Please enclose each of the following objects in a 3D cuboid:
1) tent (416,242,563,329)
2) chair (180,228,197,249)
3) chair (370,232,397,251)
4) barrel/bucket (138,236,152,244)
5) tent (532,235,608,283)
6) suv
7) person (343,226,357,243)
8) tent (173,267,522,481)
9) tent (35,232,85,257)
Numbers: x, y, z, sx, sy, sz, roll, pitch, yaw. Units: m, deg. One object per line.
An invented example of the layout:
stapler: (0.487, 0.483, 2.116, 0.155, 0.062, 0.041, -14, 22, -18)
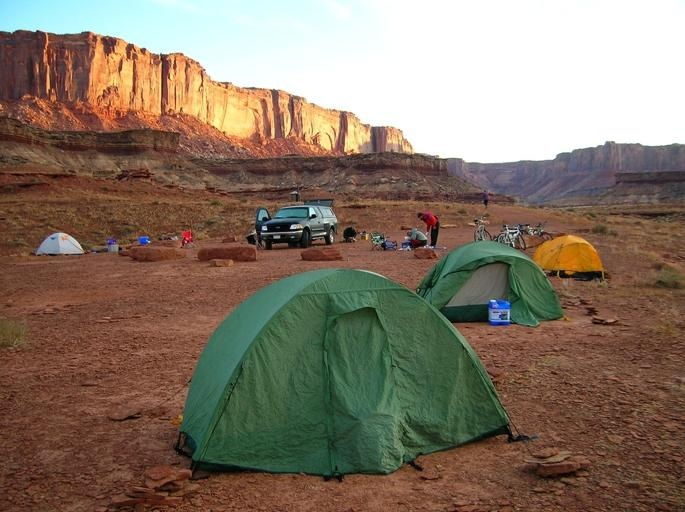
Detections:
tent: (2.999, 0.568, 10.178, 2.341, 0.872, 2.100, -2, 8, 0)
chair: (-7.140, -0.796, 22.894, 1.092, 0.976, 1.803, 1, 2, -12)
chair: (1.586, -0.558, 20.716, 1.245, 0.650, 0.895, 9, 10, 41)
barrel/bucket: (-9.082, -0.753, 23.621, 0.665, 0.339, 0.749, 2, 3, 22)
tent: (6.412, -0.011, 14.655, 1.422, 0.758, 1.963, -1, 10, -4)
suv: (-1.702, -1.314, 21.674, 1.908, 1.108, 3.204, -1, -1, 23)
person: (0.448, -1.025, 23.621, 0.838, 0.792, 0.708, -7, 13, -21)
tent: (0.100, 1.269, 5.753, 3.266, 2.107, 0.972, -1, 7, -12)
tent: (-11.619, -0.416, 20.839, 1.410, 0.609, 1.399, 1, 3, 0)
